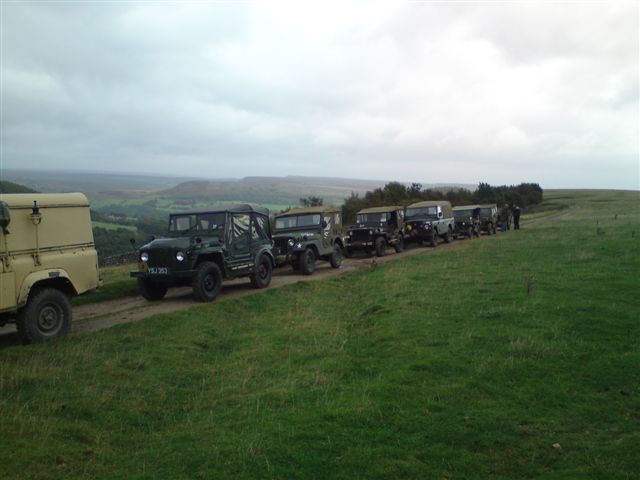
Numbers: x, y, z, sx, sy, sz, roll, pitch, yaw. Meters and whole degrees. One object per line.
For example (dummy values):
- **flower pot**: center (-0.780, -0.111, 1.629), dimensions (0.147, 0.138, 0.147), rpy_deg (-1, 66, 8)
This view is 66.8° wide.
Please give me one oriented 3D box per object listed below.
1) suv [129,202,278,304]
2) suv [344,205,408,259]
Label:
- **suv**: center (-3.845, 0.428, 16.837), dimensions (2.511, 2.761, 4.644), rpy_deg (-3, -4, 26)
- **suv**: center (3.270, -0.472, 27.720), dimensions (1.925, 2.319, 3.780), rpy_deg (-2, -3, 28)
